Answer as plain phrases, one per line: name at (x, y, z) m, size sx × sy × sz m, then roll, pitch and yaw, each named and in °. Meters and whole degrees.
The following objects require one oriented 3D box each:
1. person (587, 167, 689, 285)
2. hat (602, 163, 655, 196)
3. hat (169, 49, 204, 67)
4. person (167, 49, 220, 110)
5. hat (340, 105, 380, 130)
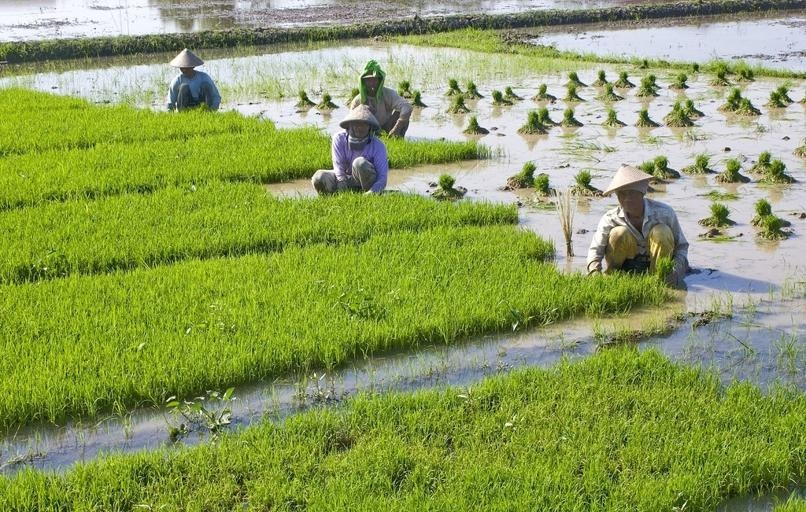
person at (3.413, -0.446, 16.618) m, size 1.432 × 1.738 × 0.451 m, roll 2°, pitch 19°, yaw 11°
hat at (3.286, -1.114, 16.399) m, size 0.535 × 0.244 × 0.533 m, roll -12°, pitch 0°, yaw -39°
hat at (-4.275, -3.804, 22.670) m, size 0.570 × 0.270 × 0.582 m, roll -20°, pitch 38°, yaw -22°
person at (-4.278, -3.543, 23.489) m, size 0.961 × 1.352 × 0.877 m, roll -3°, pitch 12°, yaw -2°
hat at (-0.638, -2.242, 18.601) m, size 0.425 × 0.266 × 0.525 m, roll 2°, pitch 3°, yaw 14°
